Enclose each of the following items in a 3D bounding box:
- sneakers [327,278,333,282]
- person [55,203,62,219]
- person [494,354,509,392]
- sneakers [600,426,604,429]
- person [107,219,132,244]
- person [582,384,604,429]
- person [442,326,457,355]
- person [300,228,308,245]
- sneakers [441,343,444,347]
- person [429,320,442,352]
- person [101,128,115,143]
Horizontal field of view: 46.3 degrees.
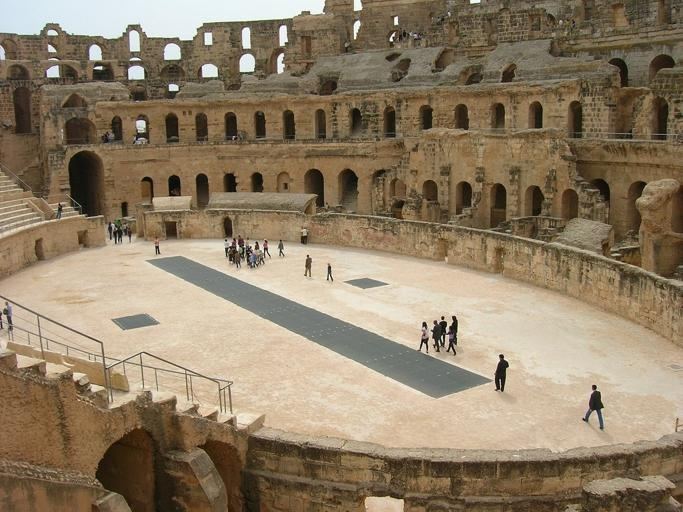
[{"bbox_3d":[-0.459,0.990,34.864,0.255,0.157,0.494,-1,7,-7],"label":"sneakers"},{"bbox_3d":[-14.187,-2.286,40.354,0.297,0.757,1.610,-2,7,-18],"label":"person"},{"bbox_3d":[4.883,3.525,24.496,0.346,1.163,0.565,2,7,11],"label":"person"},{"bbox_3d":[7.299,4.803,22.442,0.117,0.078,0.096,0,7,-2],"label":"sneakers"},{"bbox_3d":[-12.331,-1.408,44.520,1.282,0.688,1.864,4,9,3],"label":"person"},{"bbox_3d":[7.140,4.195,22.702,0.479,1.257,0.678,-16,20,-42],"label":"person"},{"bbox_3d":[3.738,2.839,27.092,0.360,0.898,0.676,1,7,8],"label":"person"},{"bbox_3d":[-1.948,-1.091,42.443,0.343,0.857,0.403,1,7,6],"label":"person"},{"bbox_3d":[3.461,3.020,27.345,0.102,0.109,0.190,-4,30,-5],"label":"sneakers"},{"bbox_3d":[3.266,2.720,27.318,0.325,0.978,0.627,1,7,7],"label":"person"},{"bbox_3d":[-15.507,-7.981,53.294,0.784,0.872,1.131,-2,7,-19],"label":"person"}]
